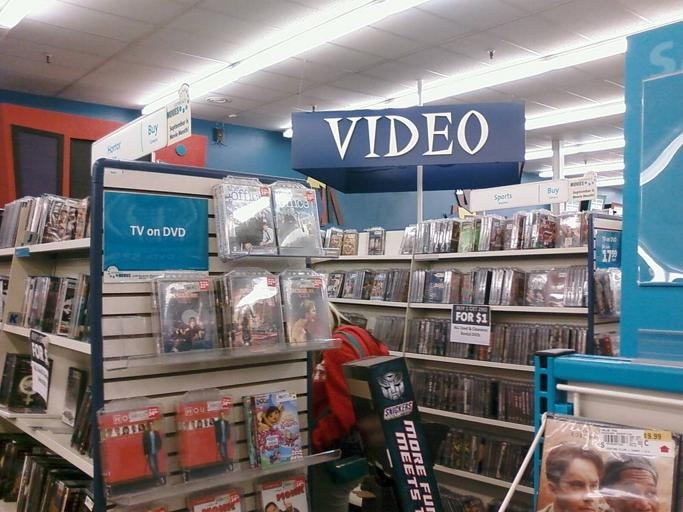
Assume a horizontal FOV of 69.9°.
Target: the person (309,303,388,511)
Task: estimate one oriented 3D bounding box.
[{"bbox_3d":[-0.026,0.910,2.759,0.309,0.980,0.726,0,1,9],"label":"person"}]
